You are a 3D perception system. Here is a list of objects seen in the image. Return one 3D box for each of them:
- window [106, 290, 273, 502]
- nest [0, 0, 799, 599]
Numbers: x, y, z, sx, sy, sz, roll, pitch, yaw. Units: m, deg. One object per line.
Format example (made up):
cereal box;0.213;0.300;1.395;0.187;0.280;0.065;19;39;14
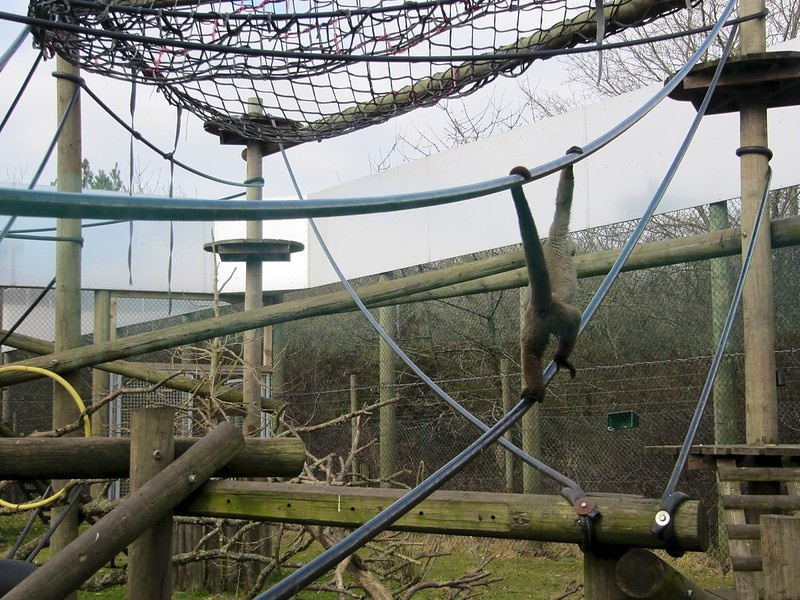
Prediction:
window;-2.144;0.854;13.321;1.660;1.549;2.472;5;5;-12
nest;-0.130;0.130;7.841;4.642;3.381;1.578;-1;-2;-12
